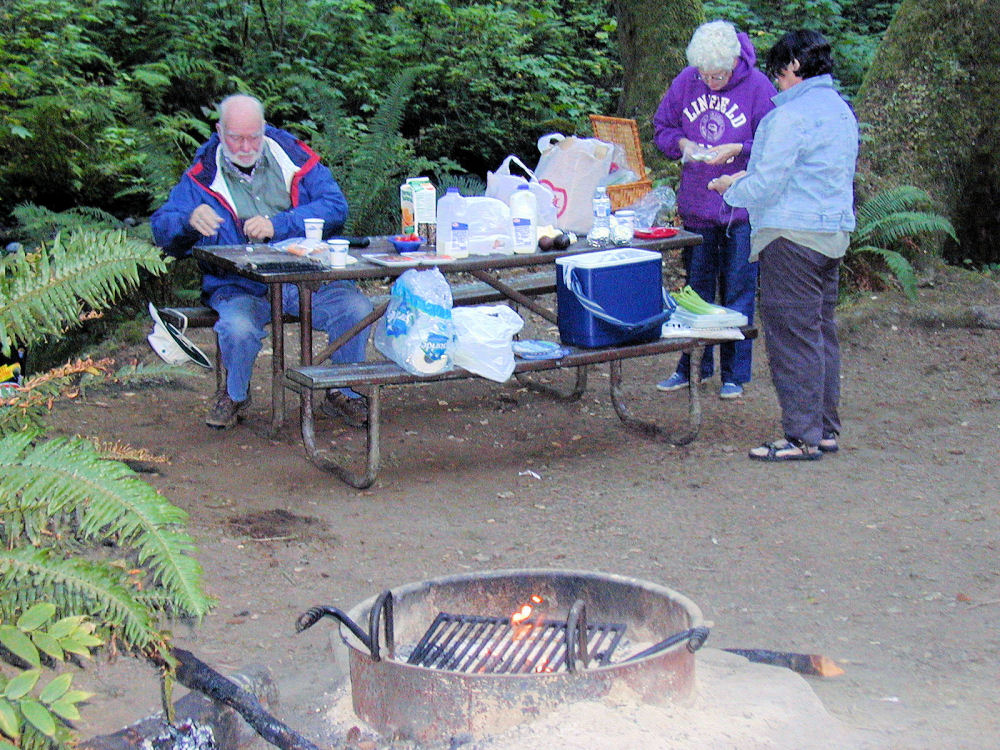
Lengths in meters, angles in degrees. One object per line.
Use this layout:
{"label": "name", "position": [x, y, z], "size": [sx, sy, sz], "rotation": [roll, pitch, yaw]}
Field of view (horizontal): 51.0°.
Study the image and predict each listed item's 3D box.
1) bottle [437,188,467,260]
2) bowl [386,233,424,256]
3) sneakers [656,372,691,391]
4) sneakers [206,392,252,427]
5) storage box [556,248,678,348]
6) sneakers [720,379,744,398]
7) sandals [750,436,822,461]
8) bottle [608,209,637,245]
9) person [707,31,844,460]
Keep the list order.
{"label": "bottle", "position": [-0.306, -0.965, 6.600], "size": [0.206, 0.406, 0.399], "rotation": [-3, 12, -2]}
{"label": "bowl", "position": [-0.604, -0.837, 6.632], "size": [0.151, 0.077, 0.152], "rotation": [2, 2, 0]}
{"label": "sneakers", "position": [1.371, 0.048, 8.210], "size": [0.291, 0.119, 0.108], "rotation": [-2, 6, -39]}
{"label": "sneakers", "position": [-1.827, 0.223, 7.005], "size": [0.140, 0.180, 0.386], "rotation": [14, 4, 7]}
{"label": "storage box", "position": [0.697, -0.497, 6.565], "size": [0.700, 0.524, 0.608], "rotation": [-12, 17, -32]}
{"label": "sneakers", "position": [1.788, 0.104, 8.025], "size": [0.089, 0.103, 0.251], "rotation": [1, -1, 35]}
{"label": "sandals", "position": [1.835, 0.479, 6.785], "size": [0.375, 0.168, 0.179], "rotation": [4, 2, 5]}
{"label": "bottle", "position": [0.831, -1.008, 7.118], "size": [0.225, 0.223, 0.398], "rotation": [4, 22, 0]}
{"label": "person", "position": [1.847, -0.789, 6.571], "size": [0.793, 2.671, 0.417], "rotation": [-2, 13, 1]}
